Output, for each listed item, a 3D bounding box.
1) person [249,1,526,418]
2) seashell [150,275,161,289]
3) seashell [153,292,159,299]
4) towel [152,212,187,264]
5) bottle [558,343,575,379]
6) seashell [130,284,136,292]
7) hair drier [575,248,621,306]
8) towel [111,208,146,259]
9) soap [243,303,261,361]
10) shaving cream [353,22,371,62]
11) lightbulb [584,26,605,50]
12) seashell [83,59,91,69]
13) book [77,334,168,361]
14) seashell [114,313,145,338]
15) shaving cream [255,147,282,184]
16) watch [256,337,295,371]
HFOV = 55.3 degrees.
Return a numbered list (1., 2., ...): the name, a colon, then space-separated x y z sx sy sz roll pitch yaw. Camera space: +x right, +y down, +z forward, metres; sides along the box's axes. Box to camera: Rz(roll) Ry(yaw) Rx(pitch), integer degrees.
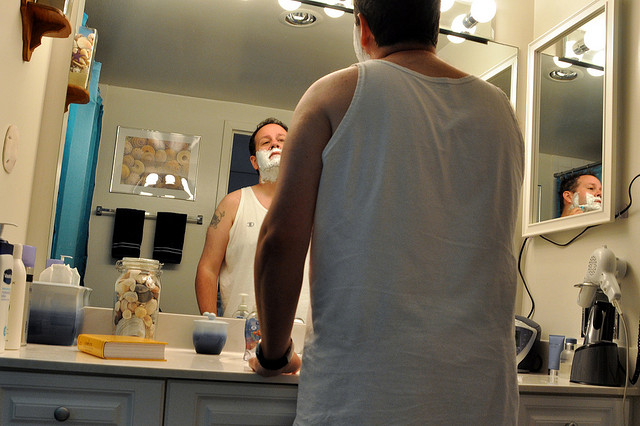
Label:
1. person: 0.191 -0.014 1.634 0.703 1.093 0.265 4 -10 -6
2. seashell: -0.586 0.247 2.191 0.023 0.041 0.054 2 -11 7
3. seashell: -0.582 0.291 2.168 0.012 0.018 0.016 2 -9 -14
4. towel: -0.591 0.097 2.404 0.113 0.199 0.041 7 -7 -18
5. bottle: 0.971 0.583 2.419 0.061 0.137 0.053 -4 -13 35
6. seashell: -0.657 0.260 2.140 0.017 0.026 0.007 5 -11 -12
7. hair drier: 1.057 0.276 2.366 0.194 0.068 0.219 -19 -54 30
8. towel: -0.719 0.080 2.335 0.112 0.189 0.074 4 -4 -32
9. soap: -0.233 0.399 2.158 0.062 0.237 0.064 4 -3 -10
10. shaving cream: 0.108 -0.487 1.743 0.065 0.089 0.093 0 -12 -4
11. lightbulb: 1.131 -0.721 2.515 0.074 0.075 0.080 17 -40 35
12. seashell: -0.923 -0.594 2.420 0.026 0.031 0.028 1 2 -12
13. book: -0.644 0.431 1.967 0.195 0.071 0.308 14 -16 -41
14. seashell: -0.664 0.399 2.131 0.070 0.079 0.076 3 -21 2
15. shaving cream: -0.211 -0.188 2.529 0.120 0.169 0.157 -2 -4 -7
16. watch: -0.125 0.396 1.702 0.107 0.088 0.088 4 -11 -5
